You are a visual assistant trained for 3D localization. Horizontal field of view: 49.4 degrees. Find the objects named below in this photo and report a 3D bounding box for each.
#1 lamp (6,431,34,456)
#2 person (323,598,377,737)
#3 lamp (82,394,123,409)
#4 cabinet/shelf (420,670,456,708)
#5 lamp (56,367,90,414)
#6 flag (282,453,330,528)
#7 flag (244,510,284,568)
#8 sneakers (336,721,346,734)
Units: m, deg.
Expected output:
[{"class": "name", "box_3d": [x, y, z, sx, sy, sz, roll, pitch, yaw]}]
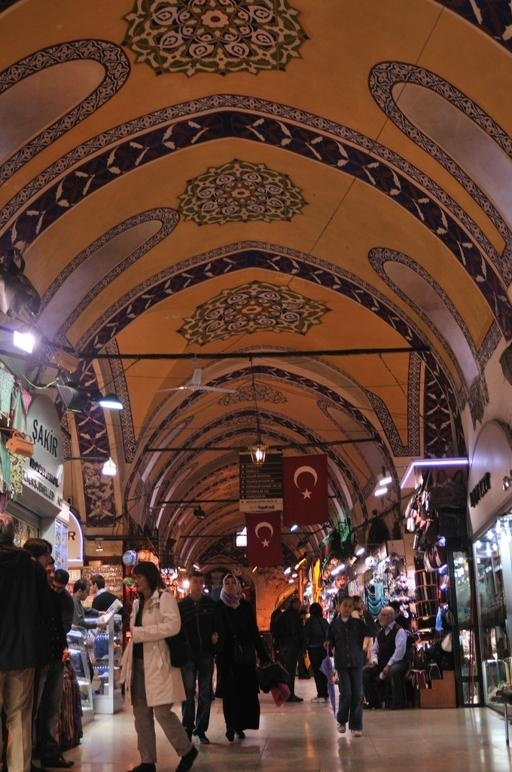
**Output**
[{"class": "lamp", "box_3d": [-2.260, 0.557, 5.339, 0.130, 0.233, 0.252, -27, -22, 17]}, {"class": "person", "box_3d": [0.866, 2.508, 5.045, 0.402, 1.133, 0.830, -6, -23, 4]}, {"class": "lamp", "box_3d": [-2.221, 0.223, 8.122, 0.471, 0.181, 0.352, 1, -8, 5]}, {"class": "cabinet/shelf", "box_3d": [2.496, 4.184, 7.699, 0.531, 0.420, 0.182, -8, -23, 9]}, {"class": "lamp", "box_3d": [-2.312, 0.037, 7.081, 0.396, 0.538, 0.675, 4, -24, -19]}, {"class": "flag", "box_3d": [0.988, 2.049, 11.191, 0.942, 1.418, 0.449, -5, -23, 1]}, {"class": "flag", "box_3d": [0.180, 3.468, 12.592, 0.762, 1.155, 0.655, -3, -23, -3]}, {"class": "sneakers", "box_3d": [0.756, 3.016, 4.915, 0.055, 0.055, 0.153, 1, 4, 4]}]
